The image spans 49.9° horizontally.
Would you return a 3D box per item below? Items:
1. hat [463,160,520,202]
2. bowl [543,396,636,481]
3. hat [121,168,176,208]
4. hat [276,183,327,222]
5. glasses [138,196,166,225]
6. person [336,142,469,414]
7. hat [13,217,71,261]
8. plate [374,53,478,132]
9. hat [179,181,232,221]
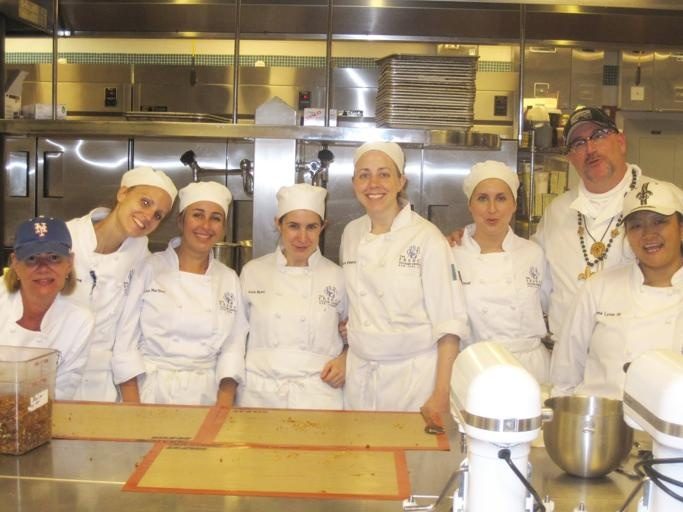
[{"bbox_3d":[0.776,-0.369,3.744,0.182,0.207,0.252,-3,-5,4],"label":"hat"},{"bbox_3d":[0.888,0.672,2.631,0.321,0.275,0.327,1,1,0],"label":"bowl"},{"bbox_3d":[-0.970,-0.348,3.640,0.223,0.108,0.192,5,-2,42],"label":"hat"},{"bbox_3d":[-0.192,-0.280,3.735,0.170,0.144,0.215,1,2,2],"label":"hat"},{"bbox_3d":[-0.911,-0.217,3.583,0.113,0.110,0.138,26,-36,-28],"label":"glasses"},{"bbox_3d":[0.258,0.101,3.435,0.781,1.305,0.408,4,6,42],"label":"person"},{"bbox_3d":[-1.242,-0.072,3.037,0.155,0.126,0.213,-1,-5,-17],"label":"hat"},{"bbox_3d":[0.483,-0.918,4.065,0.428,0.282,0.441,1,8,4],"label":"plate"},{"bbox_3d":[-0.677,-0.287,3.768,0.176,0.127,0.200,0,2,-1],"label":"hat"}]
